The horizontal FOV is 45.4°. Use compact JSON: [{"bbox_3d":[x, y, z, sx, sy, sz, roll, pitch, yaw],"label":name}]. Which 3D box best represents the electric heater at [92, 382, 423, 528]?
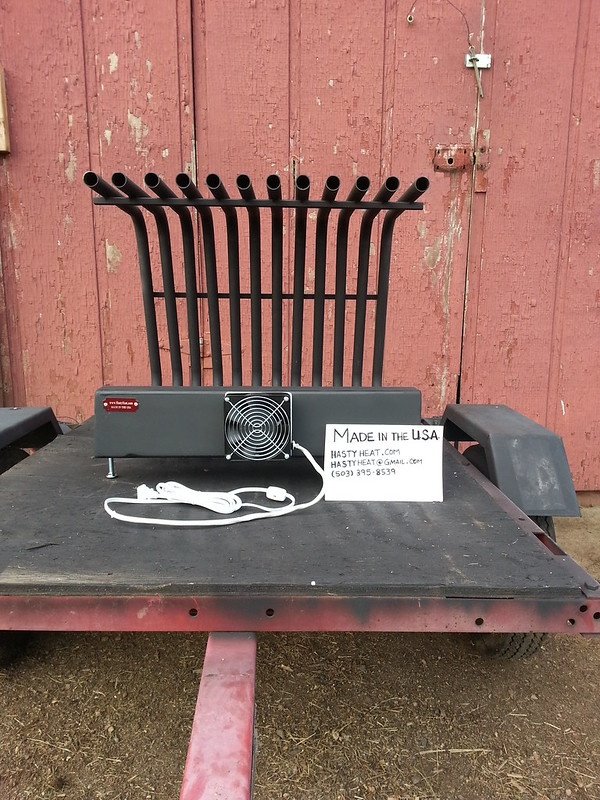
[{"bbox_3d":[-0.077,0.058,1.443,0.646,0.165,0.104,-1,10,-6],"label":"electric heater"}]
